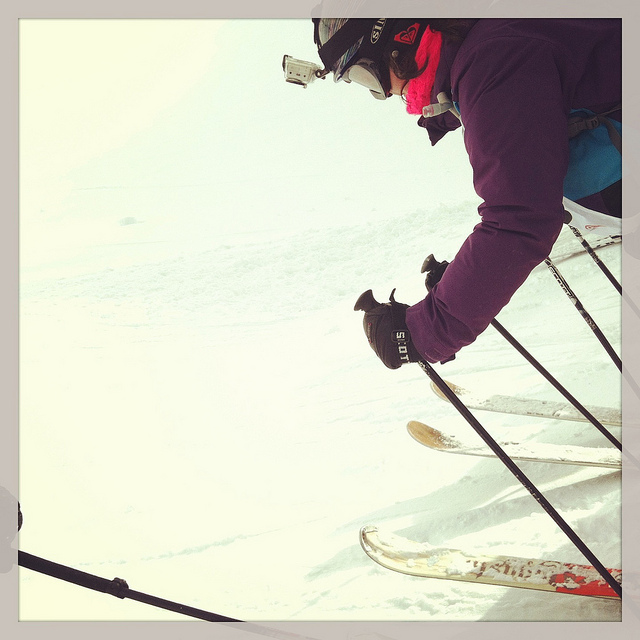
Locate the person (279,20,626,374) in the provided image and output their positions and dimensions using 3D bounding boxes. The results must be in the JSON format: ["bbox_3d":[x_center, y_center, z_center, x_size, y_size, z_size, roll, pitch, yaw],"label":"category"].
[{"bbox_3d":[0.386,-0.413,1.854,0.896,0.804,0.248,-24,-13,1],"label":"person"}]

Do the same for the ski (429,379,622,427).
[{"bbox_3d":[0.519,0.208,1.871,0.569,0.056,0.057,6,15,1],"label":"ski"}]

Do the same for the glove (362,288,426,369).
[{"bbox_3d":[0.185,0.034,1.977,0.184,0.200,0.139,-6,17,-6],"label":"glove"}]

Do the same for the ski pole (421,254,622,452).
[{"bbox_3d":[0.505,0.076,1.864,0.055,0.596,0.088,-44,5,-31],"label":"ski pole"}]

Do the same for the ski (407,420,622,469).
[{"bbox_3d":[0.488,0.312,1.875,0.688,0.082,0.075,3,12,0],"label":"ski"}]

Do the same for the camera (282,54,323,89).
[{"bbox_3d":[-0.046,-0.624,1.917,0.123,0.078,0.043,18,7,2],"label":"camera"}]
